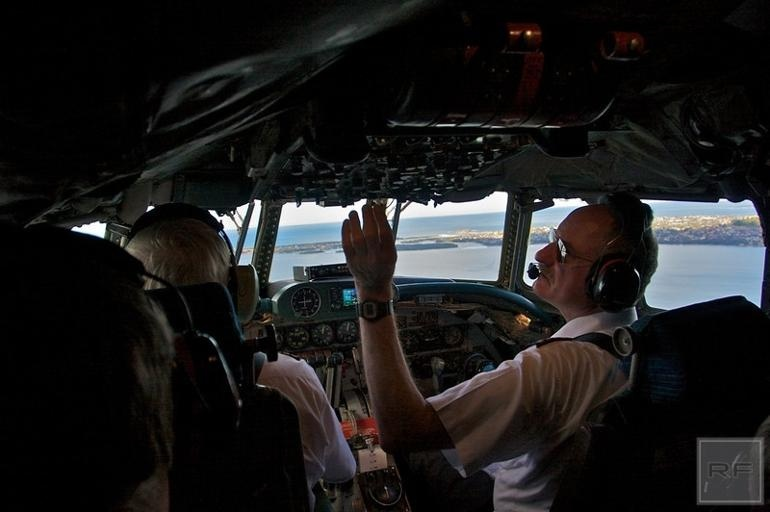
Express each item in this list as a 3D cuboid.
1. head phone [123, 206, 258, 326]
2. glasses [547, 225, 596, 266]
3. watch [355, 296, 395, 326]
[{"bbox_3d":[-0.500,0.034,1.378,0.390,0.327,0.208,9,-28,-29],"label":"head phone"},{"bbox_3d":[0.636,-0.035,1.914,0.126,0.036,0.113,21,17,-4],"label":"glasses"},{"bbox_3d":[-0.032,0.154,1.564,0.103,0.055,0.095,-4,-5,13],"label":"watch"}]
